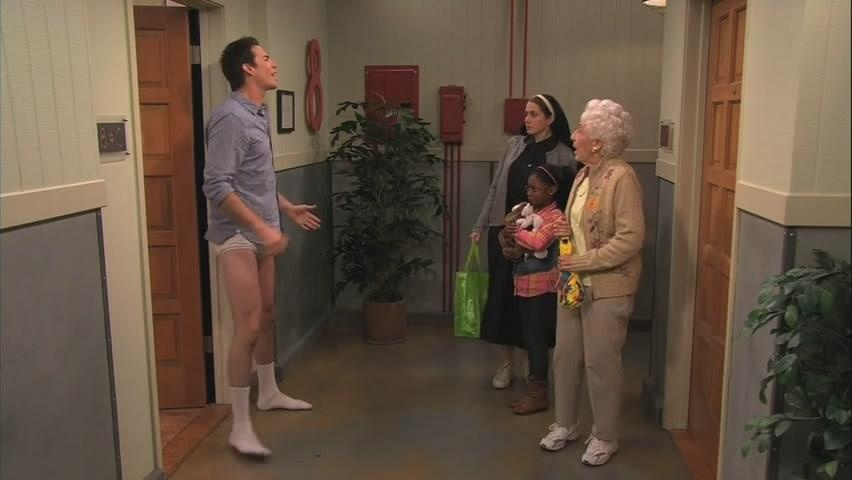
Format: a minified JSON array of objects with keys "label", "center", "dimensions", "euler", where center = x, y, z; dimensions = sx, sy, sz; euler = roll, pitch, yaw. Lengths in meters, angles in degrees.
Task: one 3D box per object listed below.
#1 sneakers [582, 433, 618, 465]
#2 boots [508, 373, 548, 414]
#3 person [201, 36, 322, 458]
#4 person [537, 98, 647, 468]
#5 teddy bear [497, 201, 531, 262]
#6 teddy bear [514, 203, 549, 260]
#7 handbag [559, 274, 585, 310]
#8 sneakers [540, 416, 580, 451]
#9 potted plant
[{"label":"sneakers","center":[1.140,1.355,3.975],"dimensions":[0.163,0.122,0.321],"euler":[0,13,43]},{"label":"boots","center":[0.707,1.141,4.489],"dimensions":[0.366,0.279,0.164],"euler":[-2,7,-1]},{"label":"person","center":[-1.144,0.025,4.059],"dimensions":[0.612,2.710,0.699],"euler":[1,11,14]},{"label":"person","center":[1.064,0.274,3.913],"dimensions":[0.613,2.312,0.453],"euler":[2,11,19]},{"label":"teddy bear","center":[0.607,-0.067,4.357],"dimensions":[0.119,0.331,0.328],"euler":[17,-17,6]},{"label":"teddy bear","center":[0.729,-0.065,4.265],"dimensions":[0.131,0.336,0.272],"euler":[14,-16,4]},{"label":"handbag","center":[0.915,0.328,3.841],"dimensions":[0.087,0.209,0.146],"euler":[2,-12,-41]},{"label":"sneakers","center":[0.908,1.312,4.136],"dimensions":[0.265,0.118,0.135],"euler":[-10,9,-25]},{"label":"potted plant","center":[-0.373,-0.220,5.793],"dimensions":[1.099,2.207,0.803],"euler":[-2,11,1]}]
